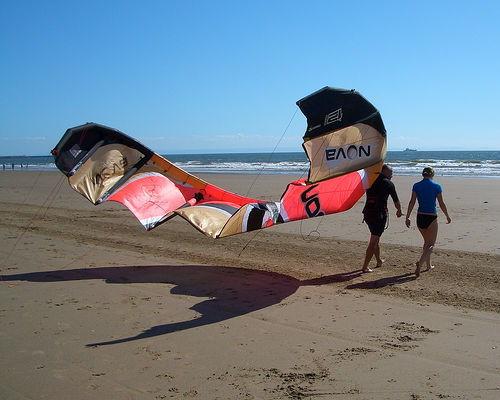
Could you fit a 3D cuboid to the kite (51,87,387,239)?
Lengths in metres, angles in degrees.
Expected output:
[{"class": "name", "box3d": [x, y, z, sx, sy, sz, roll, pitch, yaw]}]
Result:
[{"class": "kite", "box3d": [-0.416, -0.533, 7.197, 4.812, 2.659, 1.954, 3, 10, 20]}]
